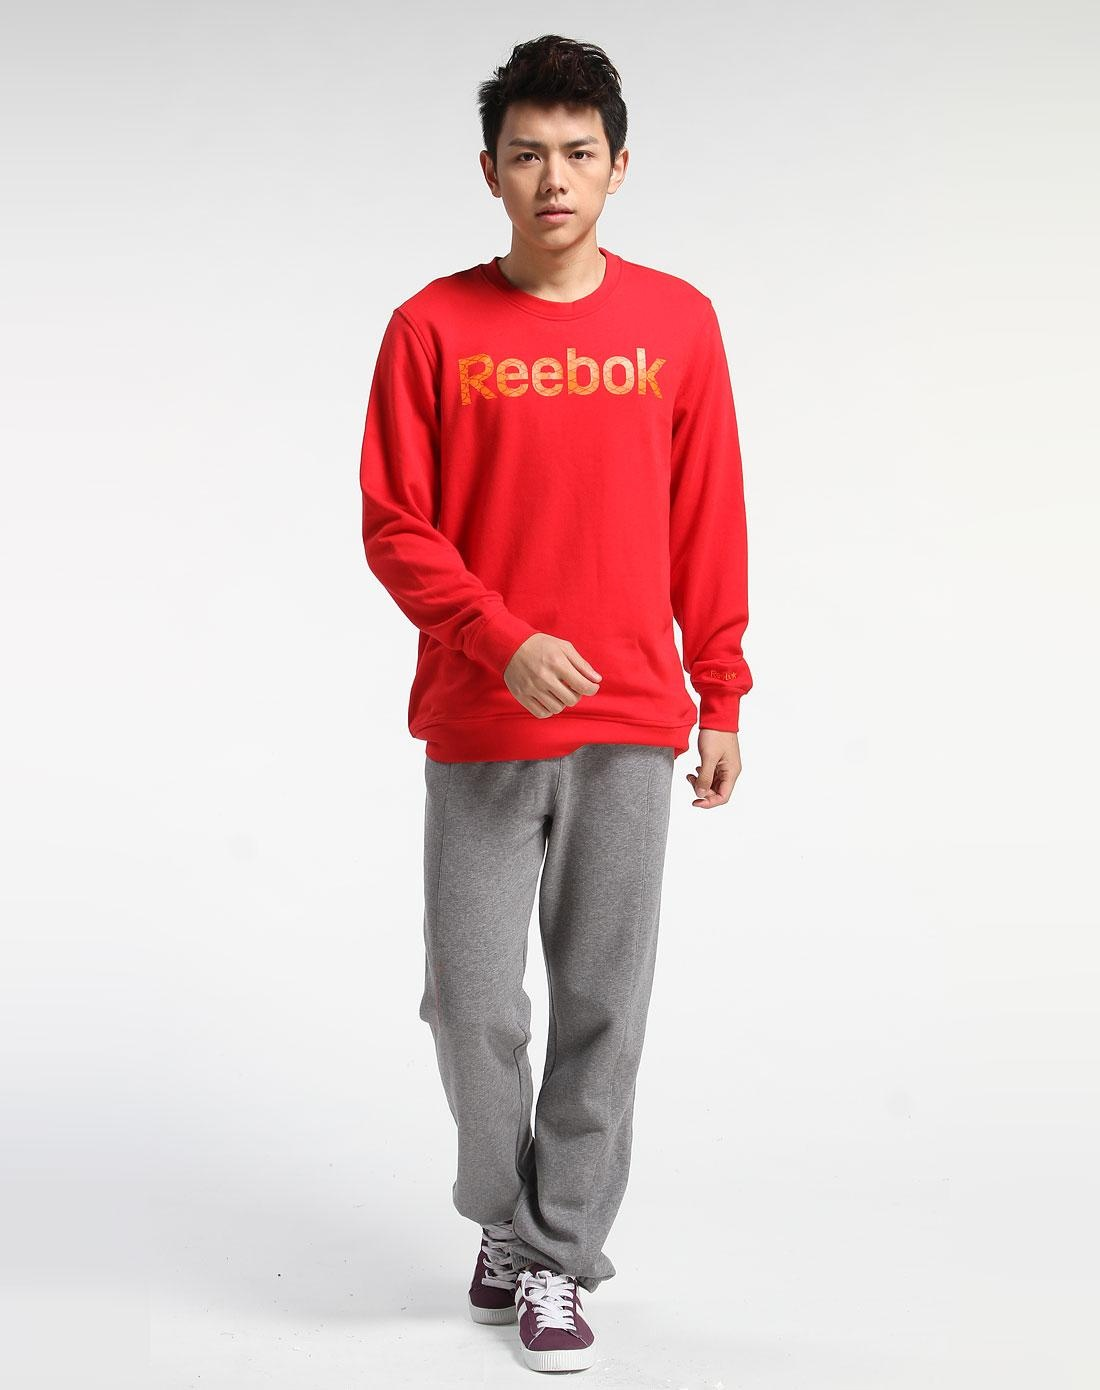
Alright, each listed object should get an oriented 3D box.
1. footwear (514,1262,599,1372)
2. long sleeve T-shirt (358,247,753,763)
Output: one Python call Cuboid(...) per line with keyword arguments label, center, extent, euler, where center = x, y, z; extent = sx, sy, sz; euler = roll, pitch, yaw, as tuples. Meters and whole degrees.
Cuboid(label="footwear", center=(0.006, 0.854, 1.989), extent=(0.066, 0.059, 0.164), euler=(1, -1, -6))
Cuboid(label="long sleeve T-shirt", center=(-0.002, -0.251, 2.017), extent=(0.349, 0.686, 0.479), euler=(4, 5, 42))
